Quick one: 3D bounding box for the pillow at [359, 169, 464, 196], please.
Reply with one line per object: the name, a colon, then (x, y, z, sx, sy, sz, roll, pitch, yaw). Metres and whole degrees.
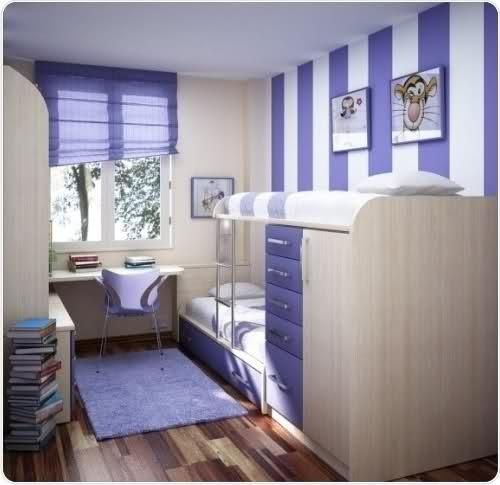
pillow: (0.846, -0.301, 2.241, 0.466, 0.122, 0.299, 1, 4, 27)

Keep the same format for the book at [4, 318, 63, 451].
book: (-1.160, 0.757, 2.304, 0.225, 0.666, 0.600, 0, 0, -7)

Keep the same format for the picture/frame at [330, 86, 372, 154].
picture/frame: (0.772, -0.928, 3.343, 0.041, 0.433, 0.375, -10, 11, -30)

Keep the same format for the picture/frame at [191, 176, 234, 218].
picture/frame: (-0.390, -0.435, 4.226, 0.433, 0.502, 0.046, 0, 2, -24)

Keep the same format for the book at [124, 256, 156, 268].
book: (-1.052, 0.188, 4.157, 0.257, 0.101, 0.274, -2, 4, -26)
